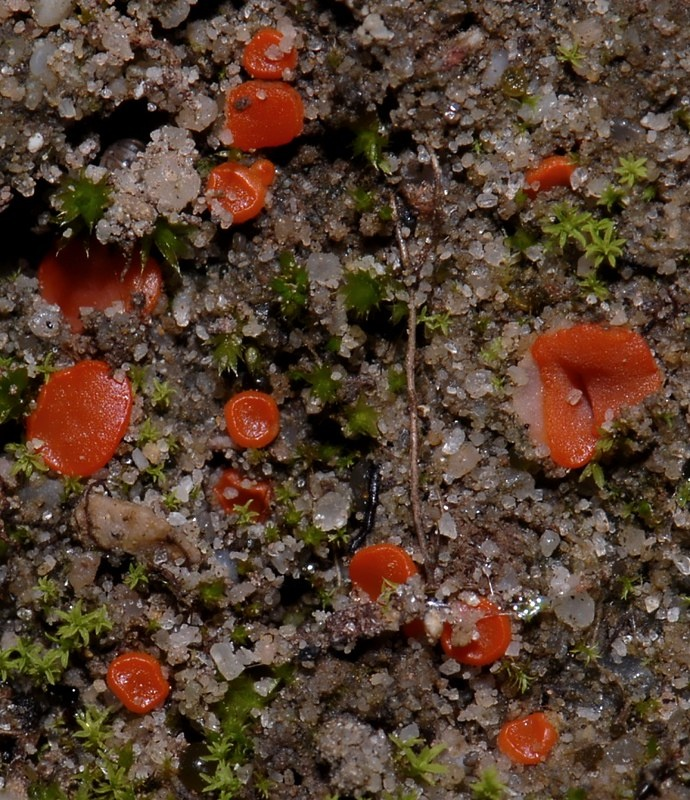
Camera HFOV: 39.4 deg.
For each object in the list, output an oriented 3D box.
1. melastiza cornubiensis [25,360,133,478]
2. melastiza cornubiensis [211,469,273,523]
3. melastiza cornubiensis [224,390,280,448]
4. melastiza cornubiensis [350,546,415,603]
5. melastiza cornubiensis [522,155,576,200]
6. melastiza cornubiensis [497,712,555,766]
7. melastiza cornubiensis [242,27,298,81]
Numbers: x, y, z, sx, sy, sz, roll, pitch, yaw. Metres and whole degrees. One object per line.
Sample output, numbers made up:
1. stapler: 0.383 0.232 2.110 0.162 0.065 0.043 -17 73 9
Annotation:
1. melastiza cornubiensis: -1.048 0.076 3.836 0.376 0.191 0.442 31 67 12
2. melastiza cornubiensis: -0.408 0.365 3.873 0.275 0.209 0.073 -12 48 24
3. melastiza cornubiensis: -0.365 0.083 3.792 0.199 0.149 0.192 -12 66 -8
4. melastiza cornubiensis: 0.139 0.657 3.708 0.219 0.183 0.171 -17 66 -10
5. melastiza cornubiensis: 0.780 -0.859 3.693 0.198 0.102 0.102 -11 66 -8
6. melastiza cornubiensis: 0.690 1.291 3.734 0.078 0.183 0.157 41 33 6
7. melastiza cornubiensis: -0.289 -1.319 3.705 0.205 0.137 0.160 8 64 1
